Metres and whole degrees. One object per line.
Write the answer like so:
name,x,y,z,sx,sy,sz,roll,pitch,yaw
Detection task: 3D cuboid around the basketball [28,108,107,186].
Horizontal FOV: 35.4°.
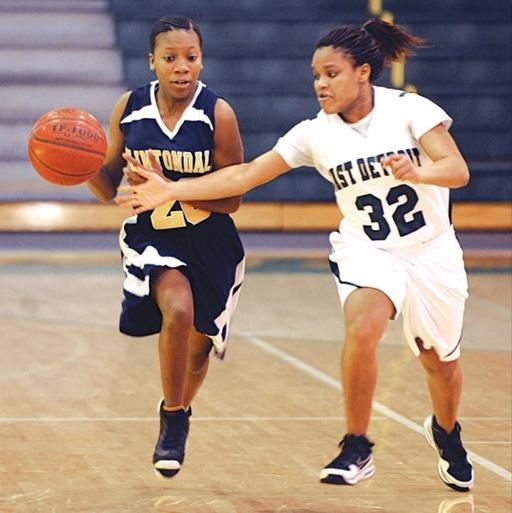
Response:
basketball,-0.590,-0.339,2.615,0.304,0.236,0.264,3,3,-3

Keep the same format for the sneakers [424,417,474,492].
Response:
sneakers,0.609,0.621,2.581,0.100,0.106,0.240,-5,55,-30

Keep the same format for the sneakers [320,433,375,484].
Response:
sneakers,0.282,0.607,2.432,0.114,0.127,0.222,1,1,39
